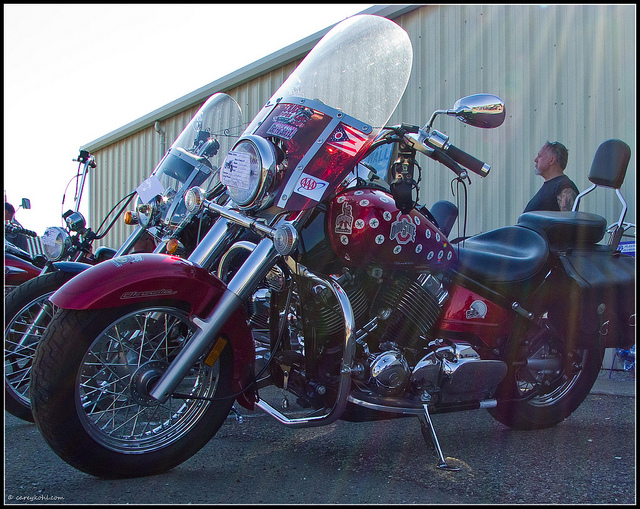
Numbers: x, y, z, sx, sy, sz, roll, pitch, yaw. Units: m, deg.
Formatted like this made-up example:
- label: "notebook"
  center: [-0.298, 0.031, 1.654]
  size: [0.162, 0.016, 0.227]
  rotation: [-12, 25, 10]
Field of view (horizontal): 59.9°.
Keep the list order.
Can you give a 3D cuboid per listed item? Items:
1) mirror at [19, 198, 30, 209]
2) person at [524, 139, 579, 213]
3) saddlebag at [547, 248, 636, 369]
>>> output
- label: "mirror"
  center: [-2.776, -0.482, 5.251]
  size: [0.033, 0.131, 0.132]
  rotation: [1, 1, 32]
- label: "person"
  center: [2.266, -0.769, 5.502]
  size: [0.406, 0.779, 0.853]
  rotation: [2, 2, 5]
- label: "saddlebag"
  center: [1.670, 0.264, 3.618]
  size: [0.540, 0.732, 0.504]
  rotation: [-5, 8, -38]
